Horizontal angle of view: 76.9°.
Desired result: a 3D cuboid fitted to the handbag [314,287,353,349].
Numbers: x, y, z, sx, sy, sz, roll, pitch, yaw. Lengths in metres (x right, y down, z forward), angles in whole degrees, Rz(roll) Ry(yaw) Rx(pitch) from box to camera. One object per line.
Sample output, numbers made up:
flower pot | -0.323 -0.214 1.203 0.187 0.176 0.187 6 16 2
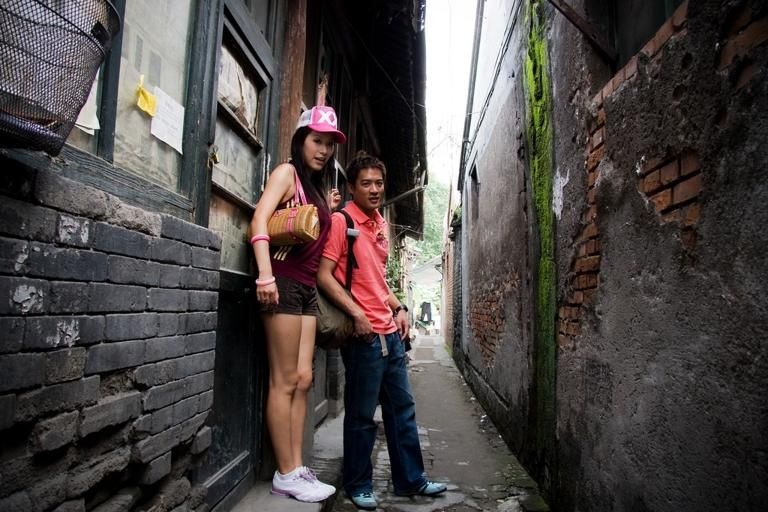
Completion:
handbag | -0.344 0.405 3.159 0.153 0.361 0.332 -19 0 20

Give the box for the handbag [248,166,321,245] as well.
handbag | -0.569 -0.273 2.819 0.352 0.436 0.153 -10 -19 23

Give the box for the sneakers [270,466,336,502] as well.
sneakers | -0.486 1.319 2.851 0.326 0.178 0.181 8 -1 2

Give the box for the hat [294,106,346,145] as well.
hat | -0.418 -0.868 3.138 0.364 0.221 0.258 13 6 44

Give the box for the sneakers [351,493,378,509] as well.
sneakers | -0.138 1.661 3.258 0.191 0.082 0.077 -9 -13 39
